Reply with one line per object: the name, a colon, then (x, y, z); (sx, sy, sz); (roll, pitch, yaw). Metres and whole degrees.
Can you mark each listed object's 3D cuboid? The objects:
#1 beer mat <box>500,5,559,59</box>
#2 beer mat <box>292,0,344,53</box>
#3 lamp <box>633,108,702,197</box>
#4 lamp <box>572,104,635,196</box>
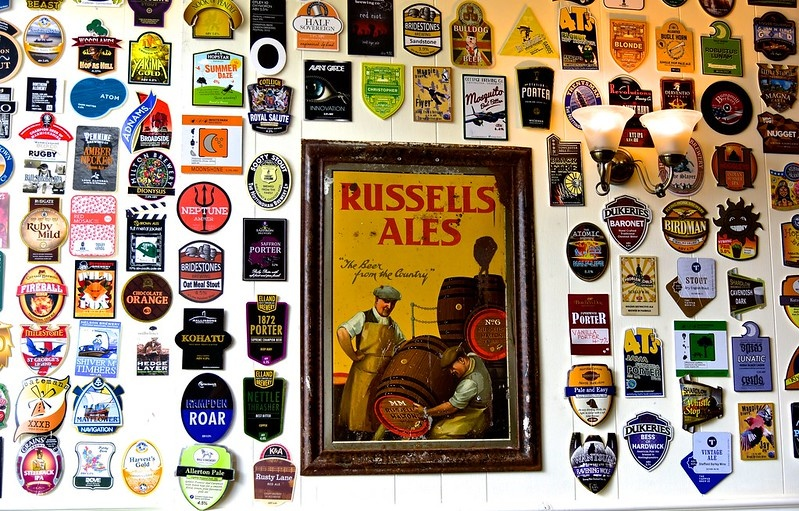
beer mat: (0.579, -1.006, 4.337); (0.240, 0.216, 0.025); (0, 6, -1)
beer mat: (-0.371, -1.011, 4.251); (0.227, 0.264, 0.025); (0, -5, -7)
lamp: (1.194, -0.472, 4.217); (0.265, 0.404, 0.391); (1, -2, -18)
lamp: (0.899, -0.448, 4.255); (0.260, 0.330, 0.267); (-2, -3, 18)
